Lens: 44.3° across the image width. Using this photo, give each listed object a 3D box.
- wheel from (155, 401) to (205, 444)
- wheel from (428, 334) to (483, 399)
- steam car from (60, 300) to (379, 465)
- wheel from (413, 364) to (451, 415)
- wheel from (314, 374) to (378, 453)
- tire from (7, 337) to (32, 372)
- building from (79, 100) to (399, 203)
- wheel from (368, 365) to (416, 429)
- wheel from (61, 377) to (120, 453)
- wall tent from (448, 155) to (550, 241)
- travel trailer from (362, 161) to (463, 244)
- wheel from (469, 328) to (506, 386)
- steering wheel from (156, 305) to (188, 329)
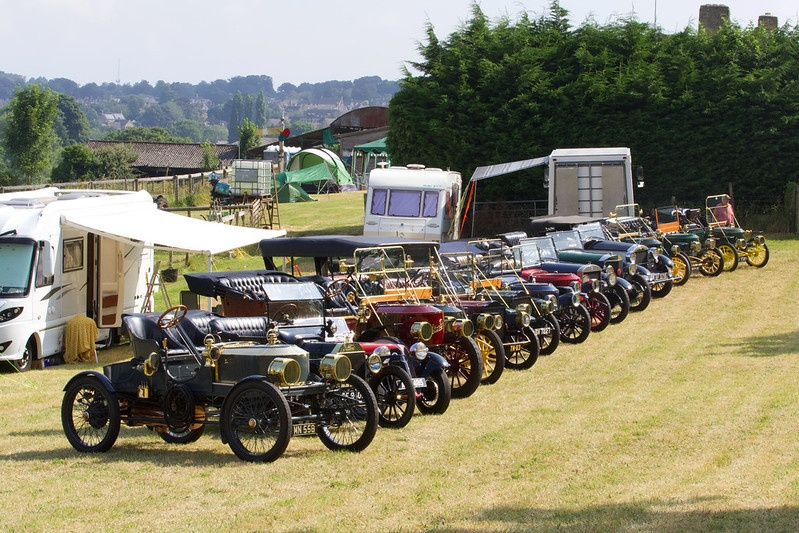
[{"bbox_3d":[-3.515,2.368,15.677,0.707,0.798,0.222,-7,-18,15],"label":"wheel"},{"bbox_3d":[0.942,1.742,17.365,0.229,1.281,1.101,-4,3,-36],"label":"wheel"},{"bbox_3d":[-2.776,1.534,15.775,4.042,2.325,2.477,-2,-1,24],"label":"steam car"},{"bbox_3d":[0.538,2.053,16.682,0.244,0.907,0.725,-6,12,-39],"label":"wheel"},{"bbox_3d":[-0.853,2.269,15.231,0.836,0.935,0.260,28,21,16],"label":"wheel"},{"bbox_3d":[-7.765,1.783,20.062,0.206,0.670,0.628,4,-4,15],"label":"tire"},{"bbox_3d":[-10.125,-8.971,70.170,18.010,4.796,20.093,1,12,2],"label":"building"},{"bbox_3d":[-0.143,2.092,16.066,0.819,0.958,0.312,16,28,39],"label":"wheel"},{"bbox_3d":[-4.877,2.351,15.621,0.950,1.133,0.273,-9,-2,37],"label":"wheel"},{"bbox_3d":[3.227,-1.623,33.928,3.592,3.826,2.977,-6,-5,-3],"label":"wall tent"},{"bbox_3d":[0.415,-1.878,29.264,2.202,2.460,2.382,1,-1,19],"label":"travel trailer"},{"bbox_3d":[1.545,1.693,18.631,0.849,0.989,0.864,-6,-2,0],"label":"wheel"},{"bbox_3d":[-3.645,0.731,15.669,0.417,0.168,0.418,-35,-20,-14],"label":"steering wheel"}]
